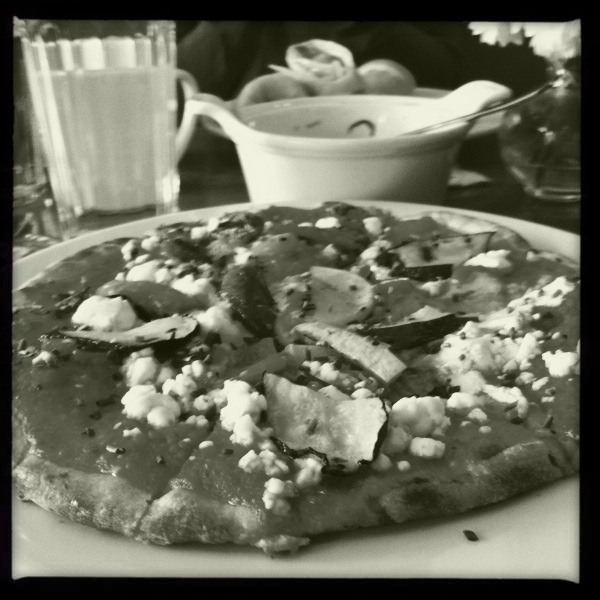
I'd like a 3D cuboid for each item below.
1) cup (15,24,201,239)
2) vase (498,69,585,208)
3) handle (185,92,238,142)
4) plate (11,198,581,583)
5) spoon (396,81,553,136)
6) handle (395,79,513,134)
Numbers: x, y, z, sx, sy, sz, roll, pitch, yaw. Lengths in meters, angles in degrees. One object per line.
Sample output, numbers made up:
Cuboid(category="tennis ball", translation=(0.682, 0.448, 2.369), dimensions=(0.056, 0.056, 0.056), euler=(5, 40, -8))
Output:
Cuboid(category="cup", translation=(-0.436, -0.437, 1.541), dimensions=(0.410, 0.378, 0.264), euler=(-18, 31, -33))
Cuboid(category="vase", translation=(0.562, -0.362, 1.392), dimensions=(0.162, 0.277, 0.152), euler=(-6, 29, -8))
Cuboid(category="handle", translation=(-0.212, -0.444, 1.497), dimensions=(0.085, 0.145, 0.037), euler=(-57, 6, -21))
Cuboid(category="plate", translation=(0.013, 0.187, 1.360), dimensions=(1.312, 0.687, 0.659), euler=(-3, 28, -4))
Cuboid(category="spoon", translation=(0.429, -0.453, 1.426), dimensions=(0.381, 0.052, 0.040), euler=(-17, -2, 17))
Cuboid(category="handle", translation=(0.377, -0.462, 1.433), dimensions=(0.240, 0.051, 0.041), euler=(-27, -7, 15))
